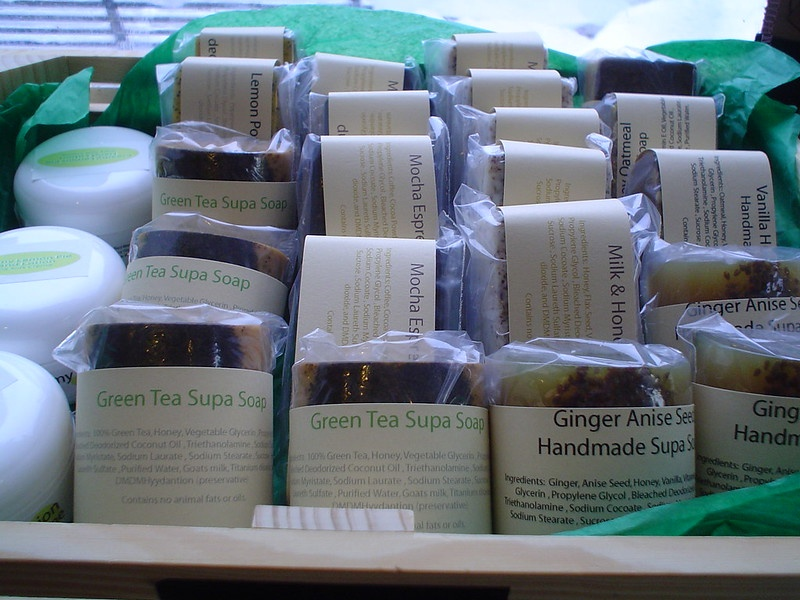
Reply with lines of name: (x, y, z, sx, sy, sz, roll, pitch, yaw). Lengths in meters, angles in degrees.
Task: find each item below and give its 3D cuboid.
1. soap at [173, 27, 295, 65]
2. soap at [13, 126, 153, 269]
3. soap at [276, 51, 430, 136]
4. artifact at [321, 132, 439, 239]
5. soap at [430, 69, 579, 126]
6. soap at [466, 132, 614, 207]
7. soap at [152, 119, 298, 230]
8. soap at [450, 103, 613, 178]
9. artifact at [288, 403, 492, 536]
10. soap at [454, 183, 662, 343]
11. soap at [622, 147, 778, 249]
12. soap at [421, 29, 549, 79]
soap: (-0.307, -0.485, 1.441, 0.185, 0.068, 0.097, 1, 21, 2)
soap: (-0.560, -0.218, 1.410, 0.258, 0.175, 0.260, -3, 47, -19)
soap: (-0.097, -0.372, 1.343, 0.202, 0.155, 0.068, 2, 7, -1)
artifact: (-0.010, -0.193, 1.226, 0.205, 0.184, 0.116, 4, 15, 22)
soap: (0.191, -0.348, 1.369, 0.258, 0.096, 0.084, -4, 2, -8)
soap: (0.214, -0.190, 1.171, 0.164, 0.115, 0.072, 0, -8, -2)
soap: (-0.297, -0.185, 1.324, 0.230, 0.201, 0.230, 4, 13, 2)
soap: (0.194, -0.260, 1.307, 0.186, 0.068, 0.111, -1, 48, -8)
artifact: (0.002, 0.182, 0.971, 0.184, 0.117, 0.187, -9, -14, 42)
soap: (0.236, -0.007, 1.154, 0.275, 0.163, 0.287, 3, 62, 2)
soap: (0.465, -0.164, 1.250, 0.251, 0.151, 0.180, 4, 31, 38)
soap: (0.155, -0.446, 1.451, 0.180, 0.067, 0.099, -1, 13, -3)
